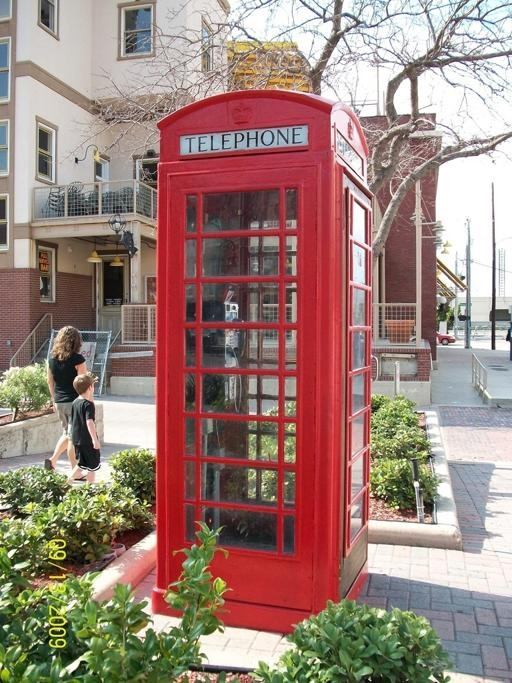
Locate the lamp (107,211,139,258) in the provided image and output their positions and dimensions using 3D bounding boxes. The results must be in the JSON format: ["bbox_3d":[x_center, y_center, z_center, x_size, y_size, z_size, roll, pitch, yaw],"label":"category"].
[{"bbox_3d":[-4.032,-3.159,18.276,0.810,1.284,1.039,0,2,-18],"label":"lamp"}]

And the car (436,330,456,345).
[{"bbox_3d":[15.686,-0.344,50.151,0.962,0.823,1.742,-1,-3,9],"label":"car"}]

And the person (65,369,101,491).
[{"bbox_3d":[-1.613,0.842,5.687,0.271,1.059,0.732,0,2,-16],"label":"person"}]

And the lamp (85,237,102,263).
[{"bbox_3d":[-5.832,-3.284,21.740,0.783,0.913,0.801,-4,13,-37],"label":"lamp"}]
